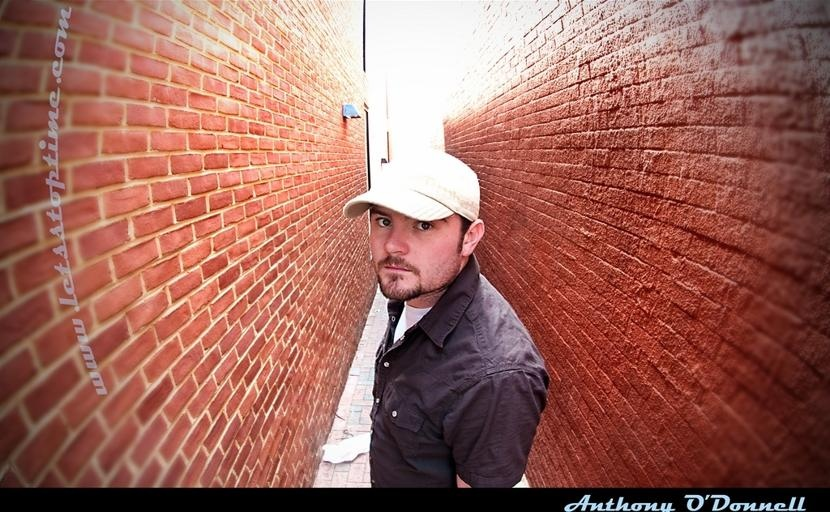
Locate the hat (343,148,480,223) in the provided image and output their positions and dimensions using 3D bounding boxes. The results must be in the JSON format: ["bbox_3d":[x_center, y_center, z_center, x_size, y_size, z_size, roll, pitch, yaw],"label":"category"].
[{"bbox_3d":[0.013,-0.358,2.572,0.731,0.535,0.362,3,-86,-48],"label":"hat"}]
